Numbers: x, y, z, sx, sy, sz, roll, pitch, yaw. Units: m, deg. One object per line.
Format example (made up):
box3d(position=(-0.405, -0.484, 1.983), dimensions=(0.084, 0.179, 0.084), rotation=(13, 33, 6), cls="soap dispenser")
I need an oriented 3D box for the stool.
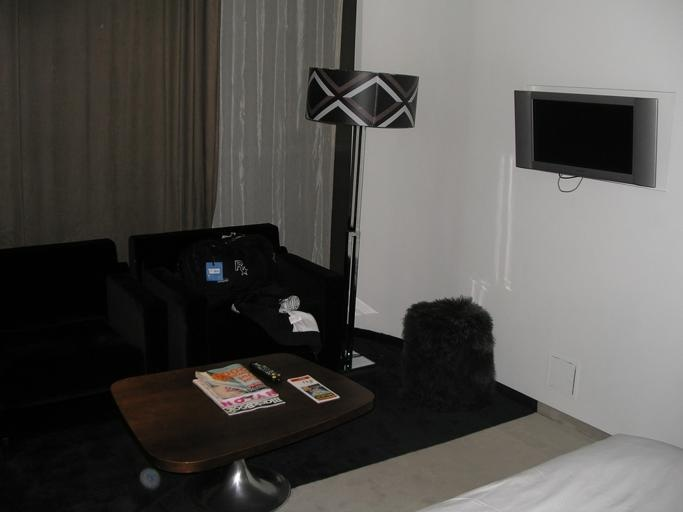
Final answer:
box3d(position=(0.642, 0.602, 3.517), dimensions=(0.536, 0.635, 0.582), rotation=(0, 5, -2), cls="stool")
